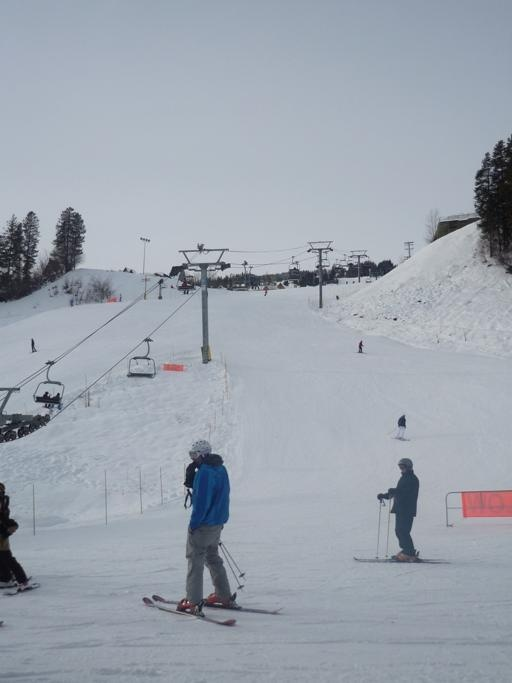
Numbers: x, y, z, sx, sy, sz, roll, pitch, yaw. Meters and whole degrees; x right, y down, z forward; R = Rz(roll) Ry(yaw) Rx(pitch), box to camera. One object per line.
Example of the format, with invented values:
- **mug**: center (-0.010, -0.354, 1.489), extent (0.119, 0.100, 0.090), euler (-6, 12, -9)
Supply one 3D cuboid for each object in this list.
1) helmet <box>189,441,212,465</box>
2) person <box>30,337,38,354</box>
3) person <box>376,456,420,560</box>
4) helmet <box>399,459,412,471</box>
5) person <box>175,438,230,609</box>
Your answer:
- **helmet**: center (-0.694, 1.408, 13.338), extent (0.276, 0.290, 0.243), euler (2, -4, 4)
- **person**: center (-9.691, 0.202, 46.098), extent (0.340, 0.922, 0.322), euler (-14, 28, -22)
- **person**: center (2.160, 2.502, 15.795), extent (0.520, 1.553, 0.741), euler (-1, 5, 6)
- **helmet**: center (2.221, 1.809, 15.560), extent (0.135, 0.166, 0.192), euler (-4, -40, 19)
- **person**: center (-0.648, 2.321, 13.302), extent (0.677, 2.149, 0.629), euler (-2, 5, -3)
